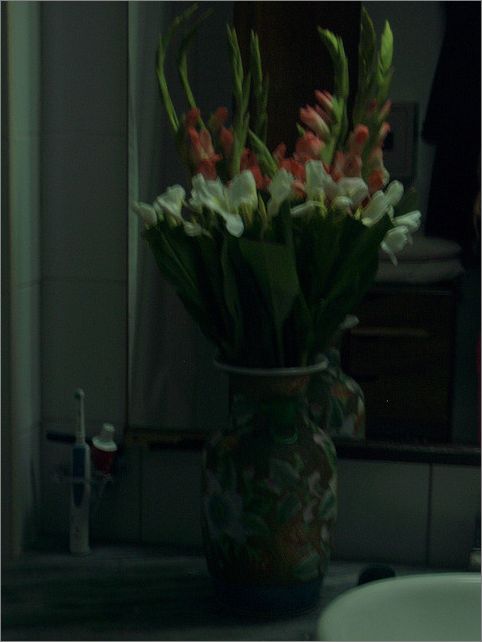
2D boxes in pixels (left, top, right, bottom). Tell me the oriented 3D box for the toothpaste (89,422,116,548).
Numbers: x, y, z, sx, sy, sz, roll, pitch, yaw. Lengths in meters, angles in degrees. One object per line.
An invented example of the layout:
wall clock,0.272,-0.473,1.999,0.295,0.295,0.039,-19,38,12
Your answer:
toothpaste,-0.206,0.238,1.119,0.038,0.158,0.041,11,1,2

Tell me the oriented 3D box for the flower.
flower,0.045,-0.162,0.911,0.308,0.436,0.281,-5,5,-43

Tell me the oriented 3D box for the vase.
vase,0.032,0.185,0.934,0.150,0.292,0.155,11,15,42

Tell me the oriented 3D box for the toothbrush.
toothbrush,-0.230,0.218,1.106,0.028,0.235,0.029,0,0,-4
